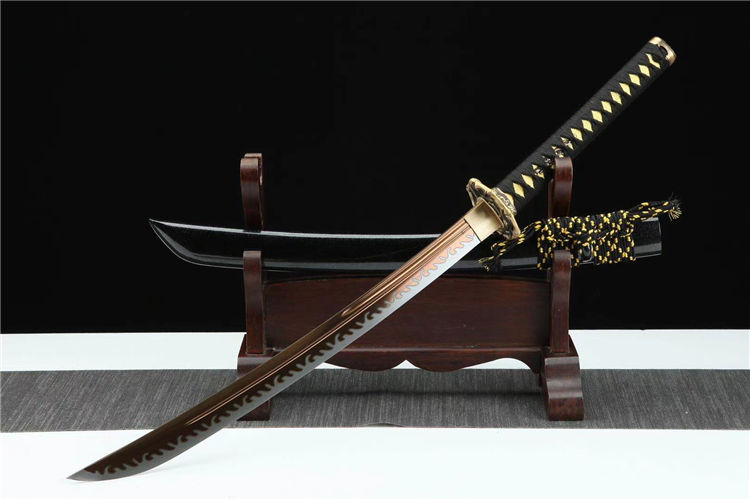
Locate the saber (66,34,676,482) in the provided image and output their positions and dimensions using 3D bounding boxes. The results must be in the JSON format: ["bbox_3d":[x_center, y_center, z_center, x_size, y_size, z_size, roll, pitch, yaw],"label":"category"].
[{"bbox_3d":[-0.017,-0.120,3.004,2.873,0.283,0.305,-28,72,-3],"label":"saber"}]
